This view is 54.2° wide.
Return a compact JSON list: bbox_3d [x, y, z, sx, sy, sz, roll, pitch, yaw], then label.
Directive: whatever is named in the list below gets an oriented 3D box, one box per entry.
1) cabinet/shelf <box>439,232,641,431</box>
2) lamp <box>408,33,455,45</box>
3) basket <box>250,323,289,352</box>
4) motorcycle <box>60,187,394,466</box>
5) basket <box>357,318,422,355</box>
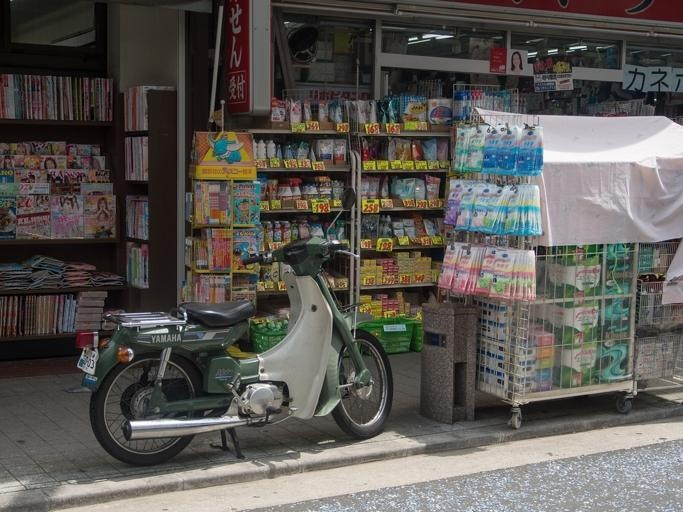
[{"bbox_3d":[1.983,0.568,6.244,1.328,1.638,1.037,-4,9,12],"label":"cabinet/shelf"},{"bbox_3d":[1.186,-2.963,8.995,1.124,0.153,0.090,-9,22,-29],"label":"lamp"},{"bbox_3d":[-0.710,0.859,6.921,0.423,0.198,0.293,2,0,-40],"label":"basket"},{"bbox_3d":[-0.637,0.641,5.170,2.600,1.712,0.992,0,1,-32],"label":"motorcycle"},{"bbox_3d":[0.596,0.920,8.218,0.766,0.351,0.568,2,-2,-32],"label":"basket"}]
